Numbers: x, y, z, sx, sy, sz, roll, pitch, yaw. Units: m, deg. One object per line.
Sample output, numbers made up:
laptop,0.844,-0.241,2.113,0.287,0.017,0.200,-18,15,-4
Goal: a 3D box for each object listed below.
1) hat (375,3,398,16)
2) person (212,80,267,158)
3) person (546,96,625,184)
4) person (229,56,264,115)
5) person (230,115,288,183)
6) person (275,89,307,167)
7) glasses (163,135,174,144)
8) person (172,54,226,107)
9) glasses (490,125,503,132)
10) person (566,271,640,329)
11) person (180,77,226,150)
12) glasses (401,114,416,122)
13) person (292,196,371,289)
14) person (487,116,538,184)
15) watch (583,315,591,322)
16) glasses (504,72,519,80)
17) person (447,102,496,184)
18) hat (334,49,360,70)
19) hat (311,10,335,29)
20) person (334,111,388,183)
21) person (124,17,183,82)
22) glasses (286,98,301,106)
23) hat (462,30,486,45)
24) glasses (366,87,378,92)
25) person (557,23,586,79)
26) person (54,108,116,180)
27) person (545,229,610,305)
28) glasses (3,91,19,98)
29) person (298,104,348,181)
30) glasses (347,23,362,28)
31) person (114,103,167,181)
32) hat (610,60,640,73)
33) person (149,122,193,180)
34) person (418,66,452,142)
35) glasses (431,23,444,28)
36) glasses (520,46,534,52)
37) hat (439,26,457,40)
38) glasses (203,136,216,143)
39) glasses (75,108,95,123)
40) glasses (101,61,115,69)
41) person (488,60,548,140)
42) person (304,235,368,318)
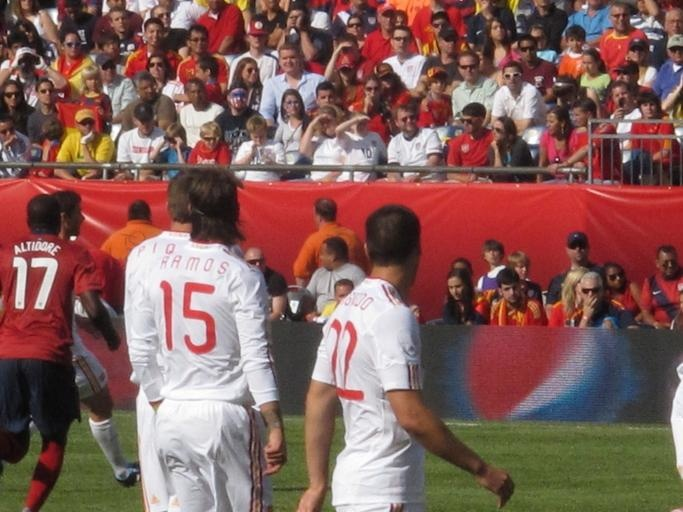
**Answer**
hat,0.623,-3.548,29.324,0.240,0.188,0.402,3,-1,-4
person,-1.361,-1.672,26.725,0.683,1.150,0.562,-2,-6,-9
person,3.102,-1.460,25.417,0.750,1.077,0.774,-2,-3,30
person,-1.249,-2.223,27.995,0.538,0.980,0.373,0,-6,-21
person,-1.038,-1.281,26.231,0.590,0.892,0.501,-6,-13,-1
person,-0.629,-1.515,26.651,0.529,1.213,0.331,-2,-27,6
glasses,-2.240,-1.514,26.578,0.099,0.045,0.106,10,-20,14
person,-1.914,-2.453,28.037,0.614,0.932,0.793,-2,2,-4
glasses,1.933,-1.620,25.717,0.069,0.083,0.194,1,-3,-37
person,2.997,0.555,23.958,0.917,0.640,0.575,-5,-3,16
person,-1.910,-1.899,27.348,0.630,0.925,0.527,7,11,31
glasses,0.864,-1.788,26.197,0.202,0.101,0.083,0,-3,-14
person,-0.083,-0.162,24.630,0.679,1.397,0.438,-13,33,-8
person,2.157,-1.275,25.863,0.654,0.947,0.542,1,-8,-26
watch,2.855,0.710,23.847,0.100,0.070,0.034,1,-3,-35
glasses,2.225,-2.373,26.748,0.202,0.086,0.096,-1,-3,7
person,1.634,-1.448,25.957,0.635,0.941,0.687,0,6,-1
hat,0.085,-2.745,28.354,0.217,0.182,0.355,-6,11,10
hat,-0.278,-3.489,30.325,0.259,0.204,0.356,18,-4,44
person,0.293,-1.397,26.118,0.697,0.892,0.598,0,-3,-14
person,-2.660,-2.944,29.297,1.059,1.056,0.585,-1,-6,-9
glasses,-0.622,-2.021,26.721,0.227,0.072,0.073,0,-3,-16
hat,1.870,-3.098,28.881,0.299,0.312,0.170,2,4,-6
glasses,0.394,-2.215,27.018,0.157,0.092,0.028,-2,-3,19
person,3.156,-2.623,28.027,0.388,1.055,0.312,4,-3,-3
person,-3.348,-1.472,26.792,0.760,0.938,0.743,0,-3,-8
person,2.861,0.129,24.695,0.655,1.159,0.402,-6,-24,13
glasses,-4.514,-2.222,27.943,0.213,0.067,0.093,-2,-3,24
person,-0.165,-1.363,26.301,0.693,1.192,0.594,6,-22,-16
glasses,0.174,-3.358,29.605,0.245,0.082,0.079,-3,-4,44
person,-2.628,-1.518,26.844,0.801,1.284,0.915,2,4,1
hat,3.761,-2.478,26.849,0.313,0.174,0.196,5,-2,-32
person,-2.230,-1.373,26.573,0.467,0.736,0.656,4,-2,8
person,1.291,-1.894,27.520,0.474,1.359,0.734,1,1,-1
glasses,1.352,-3.282,28.887,0.043,0.088,0.225,1,-3,-39
glasses,2.513,-2.817,27.688,0.161,0.067,0.054,-1,-3,10
hat,1.458,-3.076,28.265,0.273,0.204,0.183,-1,-3,14
glasses,-1.677,-1.496,26.117,0.188,0.078,0.091,-1,-3,12
glasses,-3.346,-1.837,26.752,0.224,0.176,0.374,2,-2,-17
glasses,-3.243,-2.669,28.593,0.137,0.106,0.231,3,-14,-9
person,2.265,-1.982,26.857,0.772,1.111,0.860,-9,8,10
person,0.059,0.235,24.594,0.796,1.262,1.047,1,2,-20
